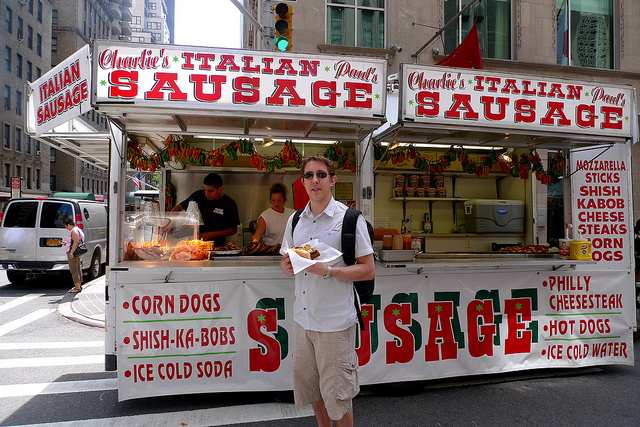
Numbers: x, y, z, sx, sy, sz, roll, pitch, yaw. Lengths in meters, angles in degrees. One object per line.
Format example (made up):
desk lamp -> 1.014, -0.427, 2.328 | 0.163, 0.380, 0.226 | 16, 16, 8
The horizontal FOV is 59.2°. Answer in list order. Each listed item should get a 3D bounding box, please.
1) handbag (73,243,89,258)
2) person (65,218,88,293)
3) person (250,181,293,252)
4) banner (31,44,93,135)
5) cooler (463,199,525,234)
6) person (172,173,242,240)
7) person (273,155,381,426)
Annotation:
handbag -> -6.230, 0.943, 14.600 | 0.454, 0.440, 0.186 | -9, -5, -41
person -> -6.294, 1.104, 14.526 | 0.482, 1.960, 0.546 | -9, 14, -38
person -> -1.000, 0.057, 11.024 | 0.385, 0.815, 1.207 | 9, 18, 36
banner -> -4.135, -1.925, 8.968 | 1.665, 0.982, 0.035 | -15, -11, 33
cooler -> 4.133, 0.079, 13.379 | 1.224, 0.802, 0.726 | 0, -3, -3
person -> -2.247, -0.120, 11.337 | 1.098, 1.390, 0.859 | 2, 12, 13
person -> 0.079, 1.092, 7.603 | 1.229, 3.654, 0.897 | 1, 11, 6
